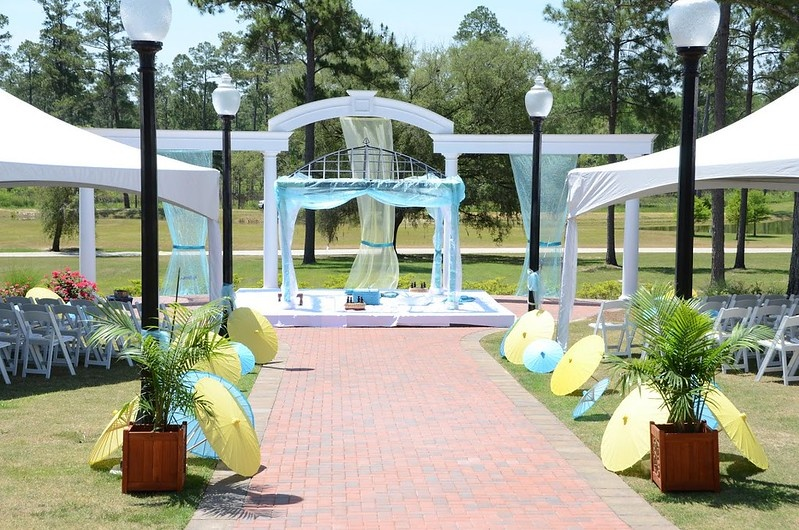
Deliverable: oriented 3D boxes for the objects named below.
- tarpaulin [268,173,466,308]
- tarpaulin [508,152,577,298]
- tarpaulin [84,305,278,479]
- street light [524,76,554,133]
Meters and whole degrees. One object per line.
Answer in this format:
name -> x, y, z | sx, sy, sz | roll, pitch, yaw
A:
tarpaulin -> -0.424, -0.001, 25.007 | 4.104, 2.890, 3.041 | 0, 4, 0
tarpaulin -> 3.624, -0.995, 26.574 | 1.520, 3.552, 1.644 | 0, 2, 8
tarpaulin -> -3.327, 1.805, 16.188 | 2.386, 2.582, 1.862 | 0, 1, -9
street light -> 2.757, -3.255, 21.053 | 0.492, 1.218, 1.876 | 0, 1, 8
